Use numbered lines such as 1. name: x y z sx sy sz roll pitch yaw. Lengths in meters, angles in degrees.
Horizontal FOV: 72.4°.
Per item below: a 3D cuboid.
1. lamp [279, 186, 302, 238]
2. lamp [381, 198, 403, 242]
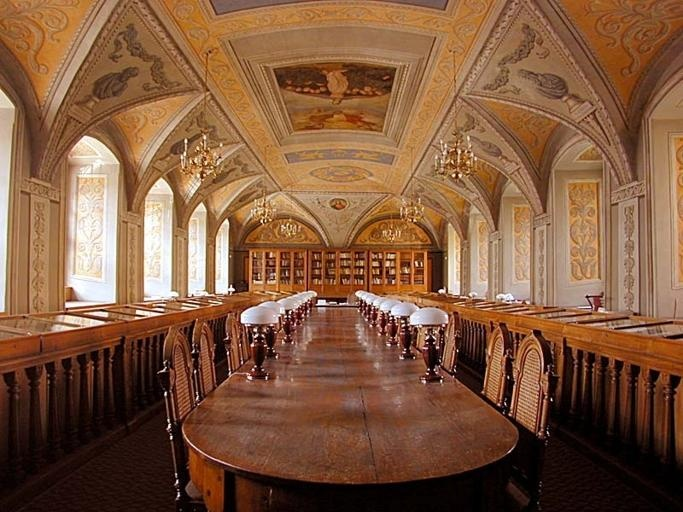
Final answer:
1. lamp: -2.226 -1.384 19.899 1.018 1.069 2.539 -1 -4 -8
2. lamp: 2.268 -1.167 21.164 0.973 1.142 0.445 -1 -4 5
